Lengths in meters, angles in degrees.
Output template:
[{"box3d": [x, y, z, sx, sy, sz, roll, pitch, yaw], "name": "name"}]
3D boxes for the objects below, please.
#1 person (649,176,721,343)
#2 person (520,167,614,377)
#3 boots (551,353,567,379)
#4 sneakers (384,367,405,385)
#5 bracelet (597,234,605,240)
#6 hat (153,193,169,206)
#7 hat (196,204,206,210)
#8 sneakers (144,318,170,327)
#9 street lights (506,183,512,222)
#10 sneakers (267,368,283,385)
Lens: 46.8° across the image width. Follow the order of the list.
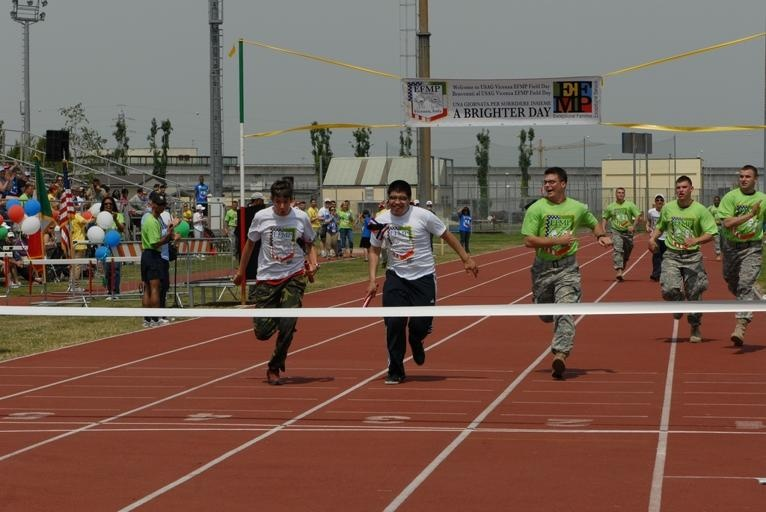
[{"box3d": [4.451, 0.030, 13.097, 0.912, 2.454, 1.455, 0, 5, 15], "name": "person"}, {"box3d": [2.212, 0.179, 10.969, 0.960, 2.575, 1.396, 0, 5, 11], "name": "person"}, {"box3d": [2.114, 1.335, 10.606, 0.136, 0.156, 0.370, 3, -37, 1], "name": "boots"}, {"box3d": [0.133, 1.414, 10.553, 0.242, 0.186, 0.286, -1, 5, 1], "name": "sneakers"}, {"box3d": [2.723, -0.243, 11.027, 0.074, 0.051, 0.073, 1, 2, 18], "name": "bracelet"}, {"box3d": [-3.735, -0.960, 14.644, 0.240, 0.130, 0.180, 5, -1, 43], "name": "hat"}, {"box3d": [-6.832, -1.866, 33.103, 0.323, 0.106, 0.218, -1, 7, -41], "name": "hat"}, {"box3d": [-3.945, 1.163, 15.394, 0.420, 0.163, 0.146, -5, 6, -45], "name": "sneakers"}, {"box3d": [8.966, -3.881, 63.182, 0.323, 2.428, 0.878, 0, 5, 7], "name": "street lights"}, {"box3d": [-1.309, 1.430, 10.608, 0.161, 0.182, 0.238, -1, 5, -7], "name": "sneakers"}]
